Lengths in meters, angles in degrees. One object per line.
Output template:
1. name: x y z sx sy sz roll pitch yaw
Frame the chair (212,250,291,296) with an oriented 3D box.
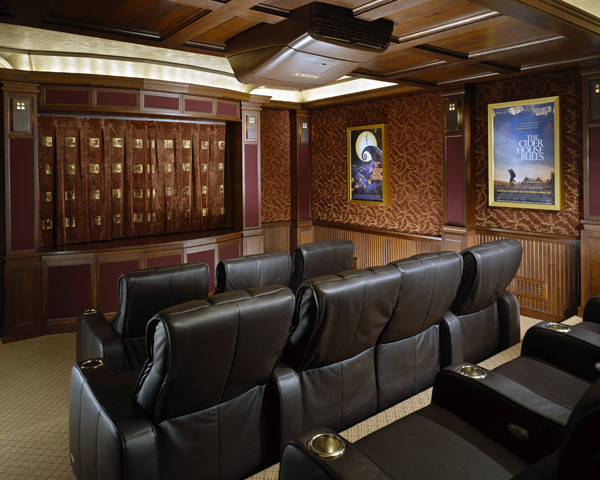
1. chair: -0.335 0.252 3.338 0.530 0.407 0.332 -8 24 -16

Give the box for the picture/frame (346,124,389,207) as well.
1. picture/frame: 0.994 -1.132 6.483 0.062 1.150 0.733 -9 10 -41

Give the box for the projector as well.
1. projector: -0.002 -1.390 3.179 0.589 0.310 0.761 -4 4 -35
